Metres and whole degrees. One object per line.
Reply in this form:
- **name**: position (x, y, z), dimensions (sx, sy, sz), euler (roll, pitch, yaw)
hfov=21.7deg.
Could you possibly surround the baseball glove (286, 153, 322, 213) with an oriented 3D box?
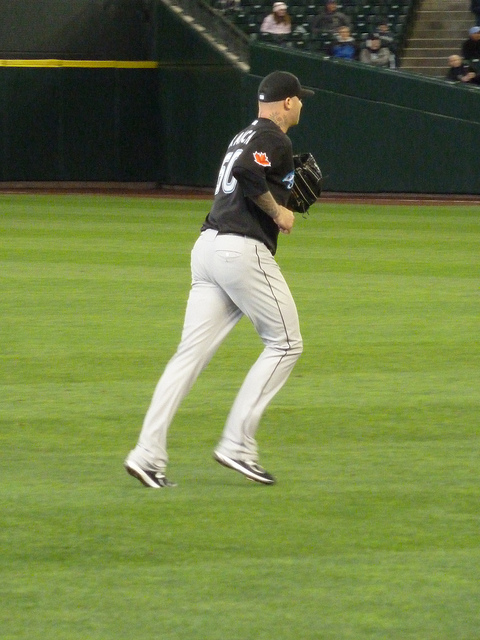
- **baseball glove**: position (0.243, -0.513, 4.836), dimensions (0.129, 0.254, 0.401), euler (11, 14, 2)

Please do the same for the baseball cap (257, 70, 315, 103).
- **baseball cap**: position (0.173, -0.869, 4.651), dimensions (0.194, 0.103, 0.116), euler (-13, 28, -15)

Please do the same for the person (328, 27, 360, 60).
- **person**: position (1.504, -3.959, 17.865), dimensions (0.424, 0.418, 1.080), euler (10, 14, 1)
